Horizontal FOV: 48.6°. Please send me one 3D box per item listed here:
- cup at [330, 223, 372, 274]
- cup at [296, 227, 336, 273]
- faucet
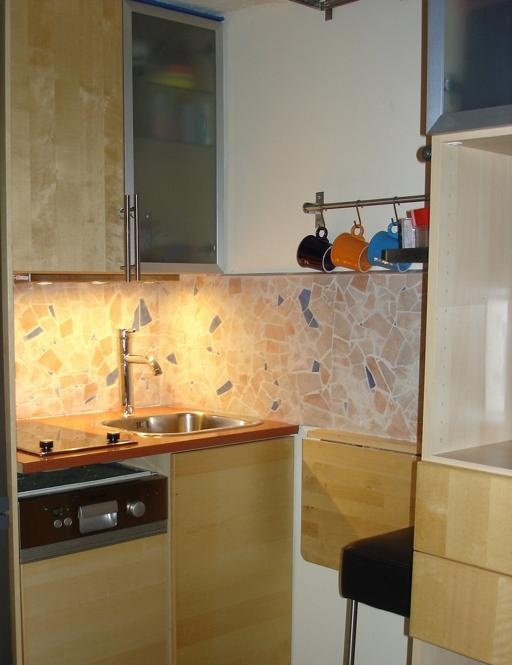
[{"bbox_3d":[0.275,-0.239,1.612,0.098,0.155,0.093,-2,12,0],"label":"cup"},{"bbox_3d":[0.186,-0.231,1.728,0.097,0.156,0.092,1,-1,0],"label":"cup"},{"bbox_3d":[-0.469,0.170,2.248,0.145,0.361,0.471,-6,12,-14],"label":"faucet"}]
